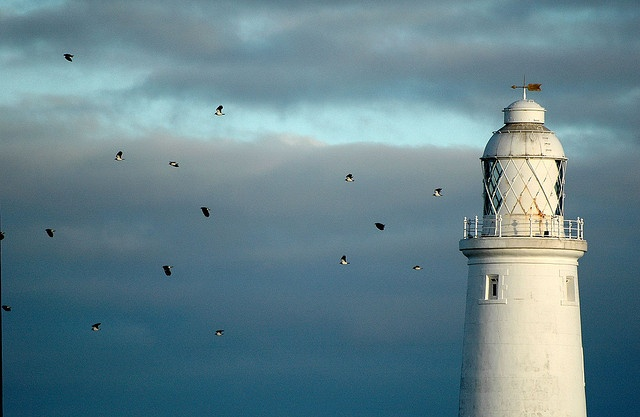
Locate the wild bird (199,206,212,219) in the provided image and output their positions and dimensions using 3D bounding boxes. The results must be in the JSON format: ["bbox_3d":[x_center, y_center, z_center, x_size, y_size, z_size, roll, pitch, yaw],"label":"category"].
[{"bbox_3d":[-3.833,0.103,50.611,0.418,0.371,0.095,-7,0,-25],"label":"wild bird"}]
